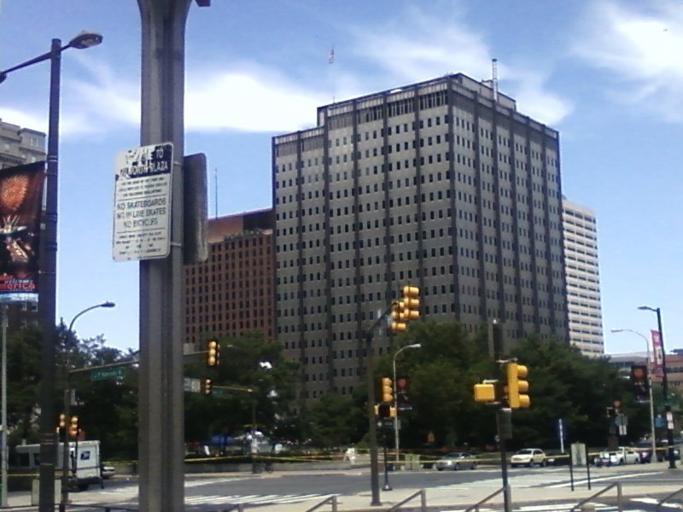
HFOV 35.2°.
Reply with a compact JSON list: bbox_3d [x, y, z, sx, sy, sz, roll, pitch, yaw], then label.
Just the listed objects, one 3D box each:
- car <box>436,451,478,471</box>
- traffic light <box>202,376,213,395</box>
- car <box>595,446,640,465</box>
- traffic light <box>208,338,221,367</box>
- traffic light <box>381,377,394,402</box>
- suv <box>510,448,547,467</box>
[{"bbox_3d":[9.354,16.459,85.852,2.909,0.995,1.379,13,-18,-42],"label":"car"},{"bbox_3d":[-8.623,8.394,69.154,0.597,0.971,2.264,-1,-14,-9],"label":"traffic light"},{"bbox_3d":[21.544,15.661,83.567,2.584,1.521,5.266,-12,-16,30],"label":"car"},{"bbox_3d":[-6.743,5.038,56.854,0.608,1.343,1.216,-1,-14,-10],"label":"traffic light"},{"bbox_3d":[2.100,6.130,49.210,0.384,1.179,1.057,-6,-14,12],"label":"traffic light"},{"bbox_3d":[15.535,16.681,88.770,2.170,1.613,3.410,-11,-16,29],"label":"suv"}]
